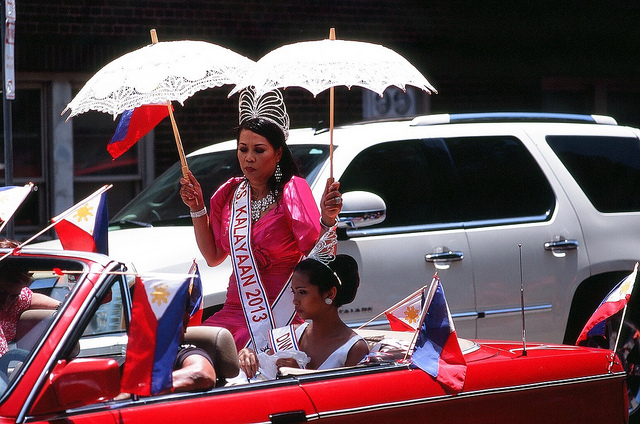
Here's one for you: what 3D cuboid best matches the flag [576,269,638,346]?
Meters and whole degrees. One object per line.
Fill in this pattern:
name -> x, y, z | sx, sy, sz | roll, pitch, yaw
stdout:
flag -> 2.152, 0.716, 7.596 | 0.435, 0.587, 0.326 | -1, 4, 13

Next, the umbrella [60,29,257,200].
umbrella -> -1.121, -0.693, 7.744 | 1.123, 0.813, 1.081 | -18, 1, -7

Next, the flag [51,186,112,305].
flag -> -1.699, 0.178, 7.356 | 0.400, 1.110, 0.139 | 14, -43, -26

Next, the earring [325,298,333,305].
earring -> 0.059, 0.642, 7.262 | 0.047, 0.044, 0.011 | -2, -4, -17

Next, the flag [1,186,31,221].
flag -> -2.091, -0.064, 6.923 | 0.203, 0.210, 0.370 | -3, 4, -17

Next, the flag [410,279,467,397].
flag -> 0.778, 0.844, 6.999 | 0.606, 0.843, 0.337 | 4, 19, 13

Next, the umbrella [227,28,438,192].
umbrella -> 0.015, -0.759, 7.610 | 1.346, 0.978, 1.396 | 1, 4, 38
